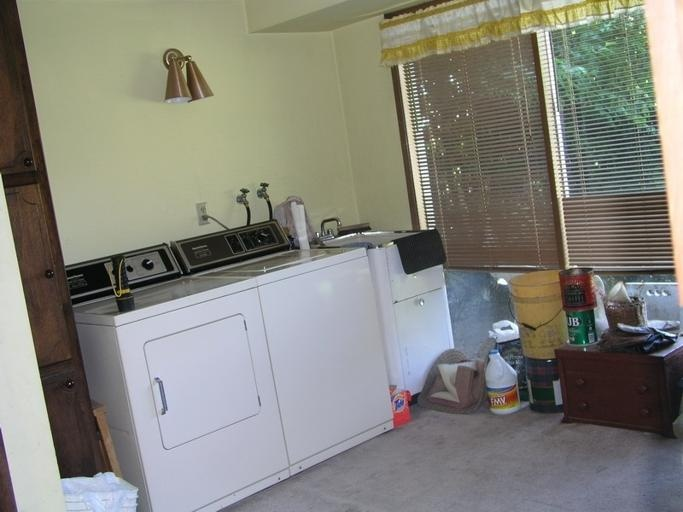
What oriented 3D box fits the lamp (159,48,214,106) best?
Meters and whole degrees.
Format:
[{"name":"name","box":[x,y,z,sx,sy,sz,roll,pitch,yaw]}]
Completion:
[{"name":"lamp","box":[-1.113,-1.289,3.651,0.278,0.309,0.204,-24,44,-31]}]

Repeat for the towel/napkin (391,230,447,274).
[{"name":"towel/napkin","box":[0.564,-0.041,3.840,0.426,0.307,0.095,-19,6,-32]}]

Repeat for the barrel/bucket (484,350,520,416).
[{"name":"barrel/bucket","box":[1.102,0.842,3.542,0.240,0.417,0.192,-8,10,1]}]
